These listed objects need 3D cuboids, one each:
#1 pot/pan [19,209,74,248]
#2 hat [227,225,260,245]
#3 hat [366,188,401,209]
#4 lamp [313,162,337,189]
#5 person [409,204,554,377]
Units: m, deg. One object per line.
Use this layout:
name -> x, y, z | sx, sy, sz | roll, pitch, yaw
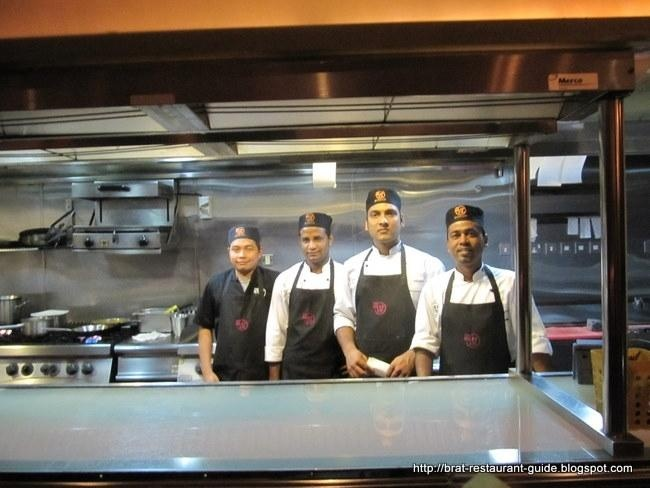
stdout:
pot/pan -> -2.137, -0.116, 4.928 | 0.400, 0.248, 0.301 | 0, 0, -4
hat -> -0.534, -0.066, 4.248 | 0.144, 0.085, 0.144 | 0, -4, 9
hat -> 0.353, -0.273, 3.881 | 0.163, 0.096, 0.163 | 1, -4, 4
lamp -> -0.004, -0.472, 4.392 | 0.156, 0.162, 0.153 | -1, -4, 2
person -> 0.784, 0.257, 3.625 | 0.566, 0.965, 0.235 | -3, -5, 19
